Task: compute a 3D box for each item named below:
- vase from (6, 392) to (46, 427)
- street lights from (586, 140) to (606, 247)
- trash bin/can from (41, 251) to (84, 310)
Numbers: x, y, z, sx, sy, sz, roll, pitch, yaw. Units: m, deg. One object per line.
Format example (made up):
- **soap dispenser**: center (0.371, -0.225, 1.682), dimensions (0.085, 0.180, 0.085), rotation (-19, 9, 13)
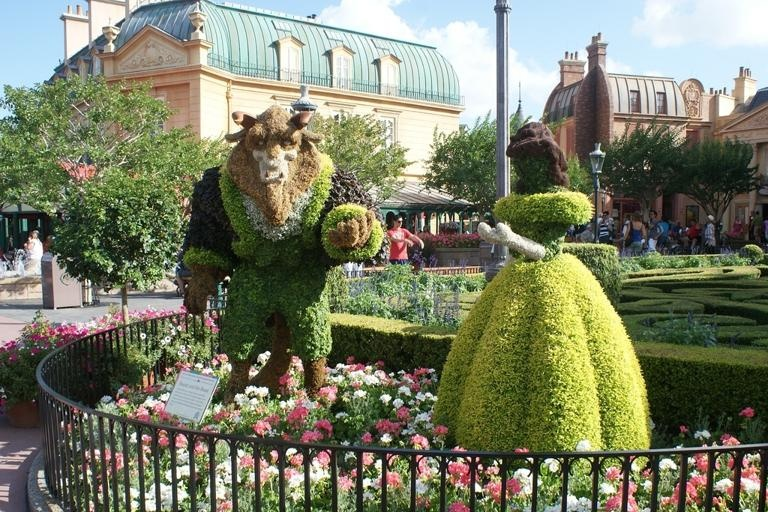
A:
- **vase**: center (-6.298, 2.725, 19.355), dimensions (0.673, 0.497, 0.687), rotation (-6, -7, 38)
- **street lights**: center (5.980, -1.606, 31.027), dimensions (0.587, 3.095, 0.579), rotation (-1, -4, 29)
- **trash bin/can**: center (-7.714, 0.562, 26.911), dimensions (0.840, 1.322, 0.844), rotation (-1, 2, 3)
